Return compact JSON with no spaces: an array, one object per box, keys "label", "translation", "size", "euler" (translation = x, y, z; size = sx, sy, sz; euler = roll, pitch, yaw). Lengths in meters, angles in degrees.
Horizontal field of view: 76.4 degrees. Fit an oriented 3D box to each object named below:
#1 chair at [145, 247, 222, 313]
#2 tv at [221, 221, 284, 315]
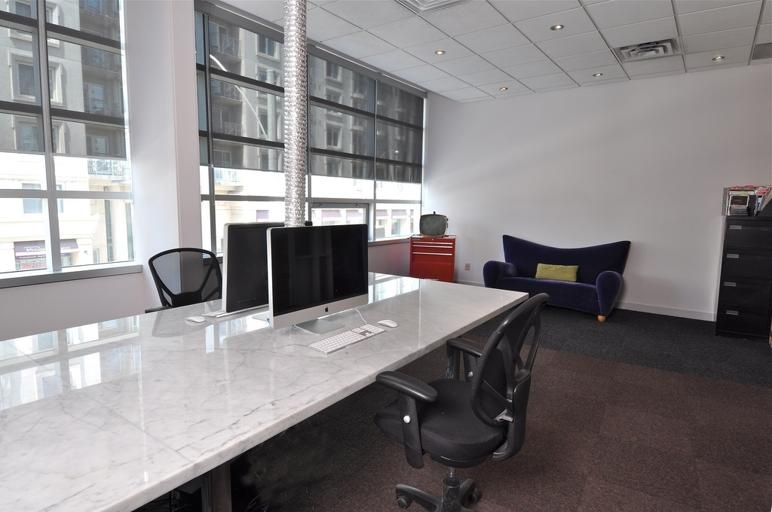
[{"label":"chair","translation":[-2.063,0.230,4.906],"size":[0.533,0.769,0.521],"euler":[-13,13,-40]},{"label":"tv","translation":[-0.989,0.081,3.607],"size":[0.065,0.655,0.685],"euler":[4,4,39]}]
